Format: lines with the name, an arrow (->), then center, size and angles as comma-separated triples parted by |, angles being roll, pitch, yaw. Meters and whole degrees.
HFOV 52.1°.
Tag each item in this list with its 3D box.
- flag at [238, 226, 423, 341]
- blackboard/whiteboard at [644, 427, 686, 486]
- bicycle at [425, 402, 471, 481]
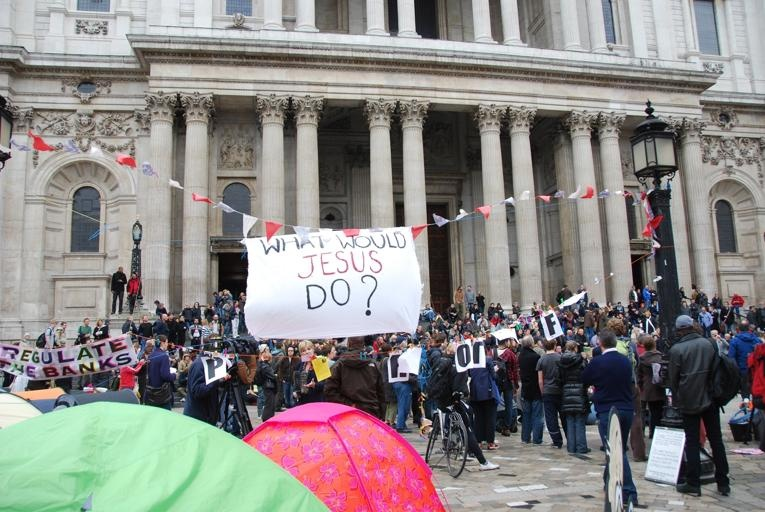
flag -> -1.161, 0.659, 17.499 | 3.642, 2.230, 0.710 | -2, -8, 0
blackboard/whiteboard -> 6.539, 4.657, 18.217 | 0.963, 1.310, 0.295 | -6, -8, 24
bicycle -> 1.649, 4.590, 19.515 | 0.609, 1.381, 2.082 | -2, -5, 8
